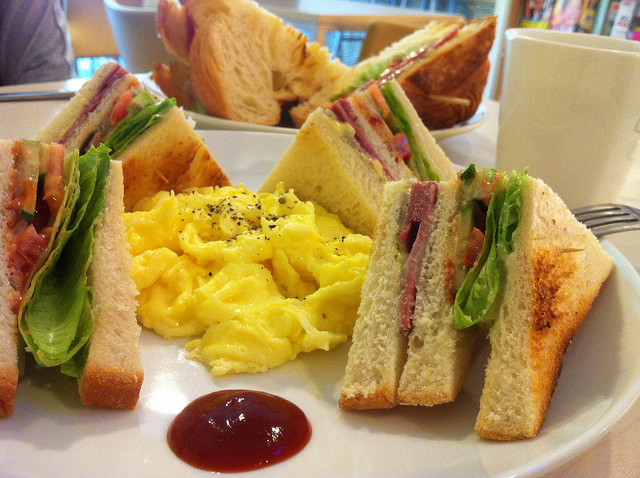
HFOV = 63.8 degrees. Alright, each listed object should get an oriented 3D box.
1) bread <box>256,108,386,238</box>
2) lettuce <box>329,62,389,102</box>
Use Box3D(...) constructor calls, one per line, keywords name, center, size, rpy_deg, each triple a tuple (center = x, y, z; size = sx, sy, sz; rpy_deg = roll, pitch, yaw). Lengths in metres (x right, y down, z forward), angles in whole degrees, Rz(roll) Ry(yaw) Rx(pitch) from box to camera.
Box3D(name="bread", center=(0.058, -0.379, 2.939), size=(0.659, 0.676, 0.185), rpy_deg=(33, 28, 7))
Box3D(name="lettuce", center=(0.335, -1.214, 4.114), size=(0.490, 0.116, 0.519), rpy_deg=(-2, -8, -11))
